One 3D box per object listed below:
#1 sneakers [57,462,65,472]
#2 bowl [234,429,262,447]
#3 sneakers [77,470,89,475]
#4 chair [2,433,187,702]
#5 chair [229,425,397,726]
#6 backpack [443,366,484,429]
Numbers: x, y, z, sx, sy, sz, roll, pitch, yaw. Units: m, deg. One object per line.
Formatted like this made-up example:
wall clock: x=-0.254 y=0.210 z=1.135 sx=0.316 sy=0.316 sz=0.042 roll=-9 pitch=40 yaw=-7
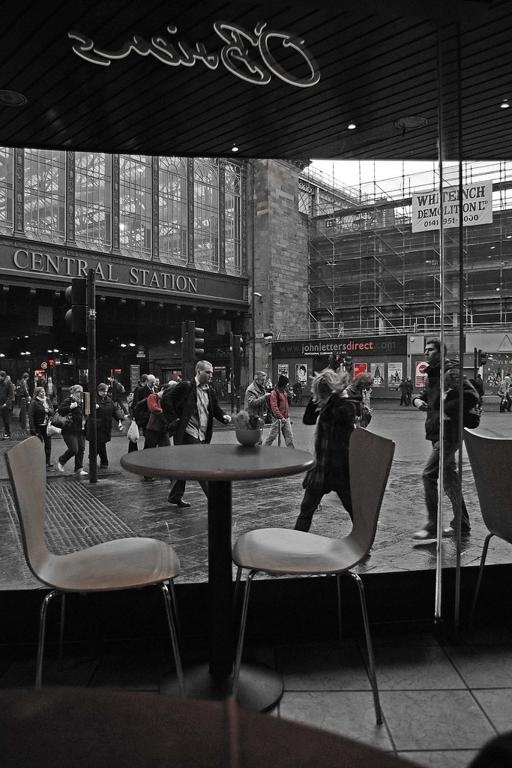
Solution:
sneakers: x=-2.937 y=1.247 z=9.733 sx=0.072 sy=0.187 sz=0.059 roll=-19 pitch=-11 yaw=7
bowl: x=-0.048 y=0.274 z=3.391 sx=0.098 sy=0.068 sz=0.104 roll=-1 pitch=-3 yaw=0
sneakers: x=-2.494 y=1.282 z=9.312 sx=0.141 sy=0.068 sz=0.070 roll=-3 pitch=-5 yaw=31
chair: x=-0.829 y=0.654 z=3.120 sx=0.900 sy=1.589 sz=0.860 roll=-3 pitch=1 yaw=-6
chair: x=0.228 y=0.808 z=3.244 sx=0.858 sy=1.627 sz=1.000 roll=2 pitch=-4 yaw=-4
backpack: x=1.162 y=0.077 z=3.656 sx=0.181 sy=0.378 sz=0.350 roll=-2 pitch=-5 yaw=9
